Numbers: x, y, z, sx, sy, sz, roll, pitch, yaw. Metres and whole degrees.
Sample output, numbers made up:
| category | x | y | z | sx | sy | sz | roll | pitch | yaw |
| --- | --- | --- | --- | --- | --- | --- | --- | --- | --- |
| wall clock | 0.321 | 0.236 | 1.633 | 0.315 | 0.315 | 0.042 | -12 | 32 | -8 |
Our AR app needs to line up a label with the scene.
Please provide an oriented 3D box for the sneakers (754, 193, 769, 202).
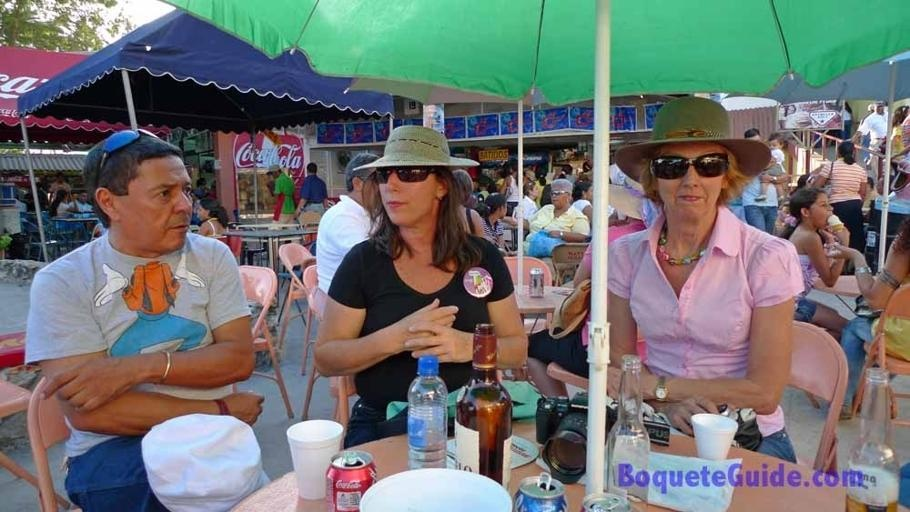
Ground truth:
| category | x | y | z | sx | sy | sz | roll | pitch | yaw |
| --- | --- | --- | --- | --- | --- | --- | --- | --- | --- |
| sneakers | 5.229 | -0.990 | 11.486 | 0.089 | 0.111 | 0.173 | -6 | 20 | -41 |

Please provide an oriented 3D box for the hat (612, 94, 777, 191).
| category | x | y | z | sx | sy | sz | roll | pitch | yaw |
| --- | --- | --- | --- | --- | --- | --- | --- | --- | --- |
| hat | 1.840 | -0.783 | 4.905 | 0.769 | 0.290 | 0.812 | -9 | -20 | 40 |

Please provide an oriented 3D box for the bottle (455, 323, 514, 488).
| category | x | y | z | sx | sy | sz | roll | pitch | yaw |
| --- | --- | --- | --- | --- | --- | --- | --- | --- | --- |
| bottle | 0.165 | 0.859 | 3.830 | 0.329 | 0.951 | 0.228 | 0 | 8 | 1 |

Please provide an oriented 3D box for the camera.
| category | x | y | z | sx | sy | sz | roll | pitch | yaw |
| --- | --- | --- | --- | --- | --- | --- | --- | --- | --- |
| camera | 0.716 | 1.037 | 4.095 | 0.491 | 0.288 | 0.522 | 6 | 19 | 21 |

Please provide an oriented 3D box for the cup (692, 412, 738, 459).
| category | x | y | z | sx | sy | sz | roll | pitch | yaw |
| --- | --- | --- | --- | --- | --- | --- | --- | --- | --- |
| cup | 1.521 | 1.069 | 3.952 | 0.273 | 0.196 | 0.261 | 1 | -5 | 0 |

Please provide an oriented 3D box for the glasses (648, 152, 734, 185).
| category | x | y | z | sx | sy | sz | roll | pitch | yaw |
| --- | --- | --- | --- | --- | --- | --- | --- | --- | --- |
| glasses | 1.621 | -0.622 | 4.658 | 0.502 | 0.177 | 0.097 | 1 | 8 | 12 |
